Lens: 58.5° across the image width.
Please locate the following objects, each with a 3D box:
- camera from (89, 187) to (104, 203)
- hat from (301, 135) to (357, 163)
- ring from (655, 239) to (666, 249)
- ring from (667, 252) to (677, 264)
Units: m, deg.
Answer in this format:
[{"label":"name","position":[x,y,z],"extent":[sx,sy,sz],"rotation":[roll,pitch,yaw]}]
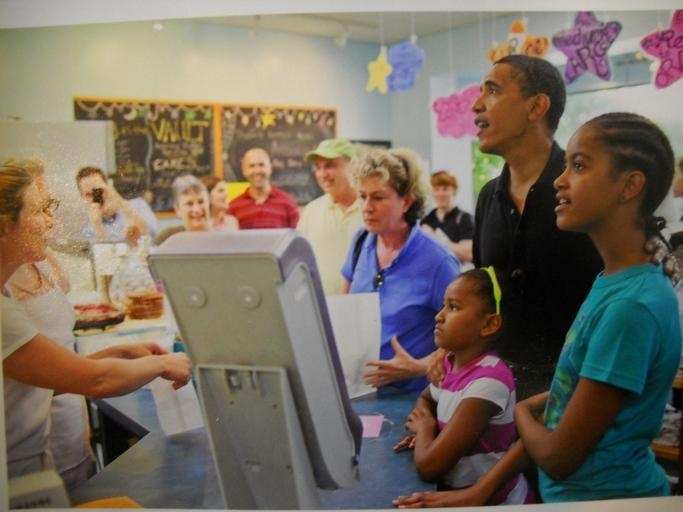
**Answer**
[{"label":"camera","position":[-1.025,-0.249,2.530],"extent":[0.044,0.057,0.014],"rotation":[22,5,-6]},{"label":"hat","position":[-0.041,-0.428,2.486],"extent":[0.150,0.068,0.105],"rotation":[1,-4,-26]},{"label":"ring","position":[1.189,-0.044,2.273],"extent":[0.032,0.036,0.009],"rotation":[-40,9,-27]},{"label":"ring","position":[1.234,0.006,2.280],"extent":[0.033,0.033,0.034],"rotation":[-17,22,7]}]
